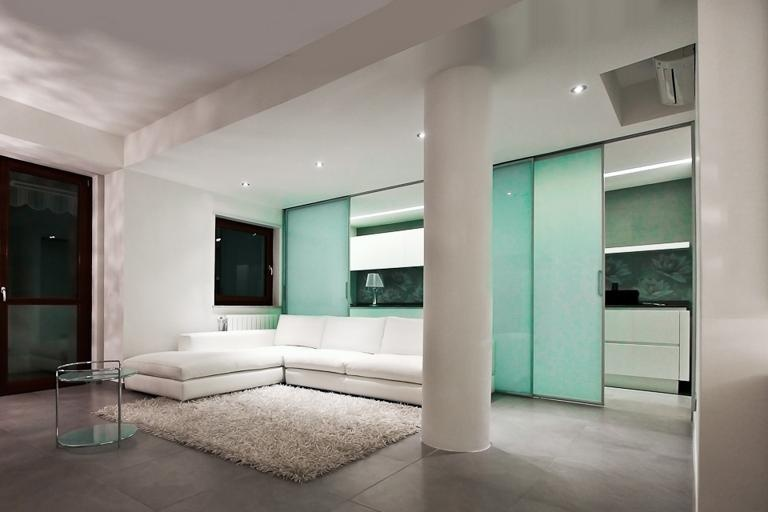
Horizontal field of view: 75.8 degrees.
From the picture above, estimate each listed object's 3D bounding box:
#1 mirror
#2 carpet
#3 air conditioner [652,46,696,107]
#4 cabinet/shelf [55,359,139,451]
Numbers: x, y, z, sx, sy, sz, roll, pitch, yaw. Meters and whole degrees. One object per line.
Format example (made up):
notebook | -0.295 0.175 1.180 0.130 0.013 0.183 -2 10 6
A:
mirror | -0.019 -0.090 7.625 1.364 2.089 0.450 5 8 32
carpet | -1.060 1.703 5.182 2.768 0.174 1.894 4 7 27
air conditioner | 2.903 -1.762 4.936 0.330 0.452 0.285 -9 10 12
cabinet/shelf | -3.047 1.596 5.225 0.663 0.741 0.670 2 -4 3
